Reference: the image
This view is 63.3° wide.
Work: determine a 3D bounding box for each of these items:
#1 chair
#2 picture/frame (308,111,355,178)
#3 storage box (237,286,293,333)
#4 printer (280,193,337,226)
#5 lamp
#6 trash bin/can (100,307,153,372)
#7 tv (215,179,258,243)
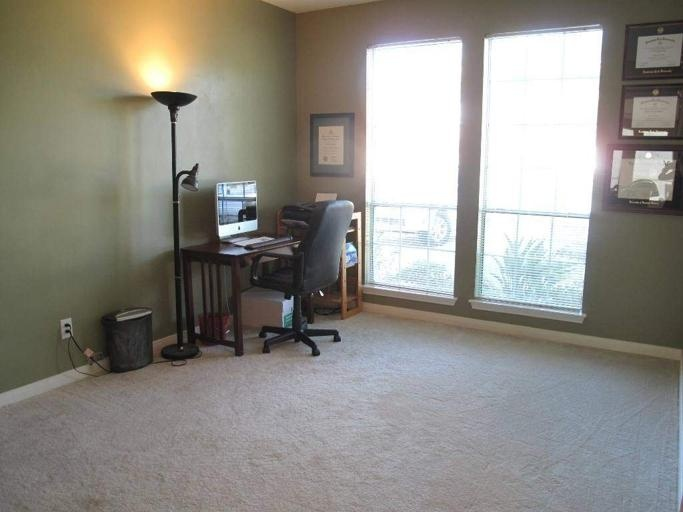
[{"bbox_3d":[-0.400,0.138,4.686,0.810,1.257,0.885,-8,13,-41],"label":"chair"},{"bbox_3d":[-0.094,-1.148,5.573,0.651,0.812,0.058,2,8,18],"label":"picture/frame"},{"bbox_3d":[-0.705,0.478,4.951,0.386,0.247,0.388,3,4,24],"label":"storage box"},{"bbox_3d":[-0.354,-0.426,5.396,0.469,0.313,0.363,0,2,40],"label":"printer"},{"bbox_3d":[-1.340,-0.239,4.478,0.362,2.087,0.531,-3,11,-16],"label":"lamp"},{"bbox_3d":[-1.660,0.635,4.207,0.377,0.462,0.247,-10,19,-39],"label":"trash bin/can"},{"bbox_3d":[-0.948,-0.400,4.867,0.166,0.512,0.500,6,11,29],"label":"tv"}]
